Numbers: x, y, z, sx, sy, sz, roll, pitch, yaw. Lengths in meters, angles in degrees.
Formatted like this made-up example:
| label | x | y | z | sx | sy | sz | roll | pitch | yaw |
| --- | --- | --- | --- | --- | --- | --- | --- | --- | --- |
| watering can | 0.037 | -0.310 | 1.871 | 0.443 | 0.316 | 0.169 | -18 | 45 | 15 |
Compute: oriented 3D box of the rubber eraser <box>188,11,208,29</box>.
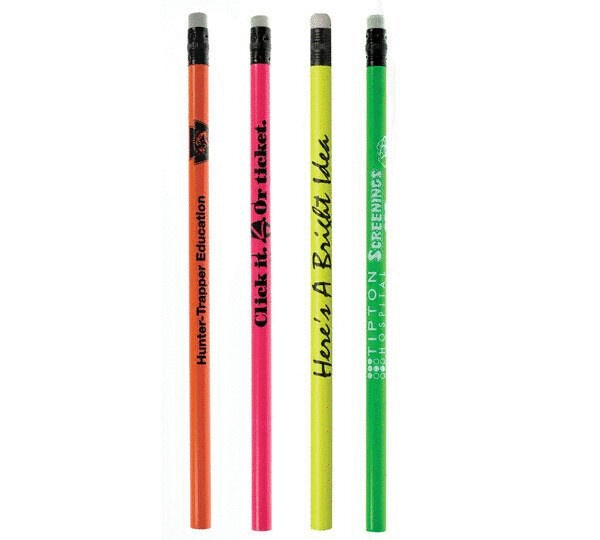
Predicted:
| label | x | y | z | sx | sy | sz | roll | pitch | yaw |
| --- | --- | --- | --- | --- | --- | --- | --- | --- | --- |
| rubber eraser | -0.142 | -0.357 | 1.139 | 0.023 | 0.024 | 0.018 | 1 | -87 | -9 |
